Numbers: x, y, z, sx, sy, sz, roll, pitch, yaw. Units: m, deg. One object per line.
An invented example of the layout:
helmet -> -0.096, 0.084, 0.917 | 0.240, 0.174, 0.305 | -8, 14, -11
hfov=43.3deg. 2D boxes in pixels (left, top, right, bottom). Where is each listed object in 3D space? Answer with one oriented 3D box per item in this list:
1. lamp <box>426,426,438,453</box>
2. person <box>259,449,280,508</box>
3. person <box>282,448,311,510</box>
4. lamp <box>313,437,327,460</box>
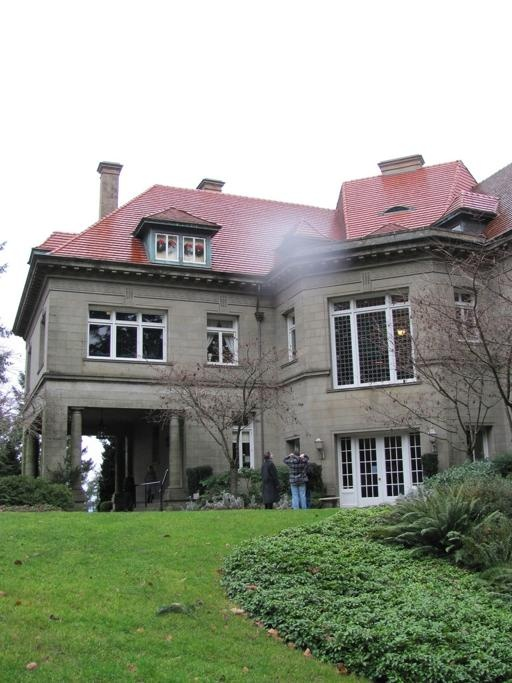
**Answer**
lamp -> 5.655, 3.151, 20.584 | 0.369, 0.838, 0.677 | -5, -13, 15
person -> 0.417, 3.918, 18.190 | 0.446, 1.521, 1.072 | -2, -13, 0
person -> 1.198, 4.008, 18.799 | 0.612, 1.659, 1.105 | -2, -13, 3
lamp -> 2.191, 3.680, 21.964 | 0.391, 0.767, 0.268 | -6, -14, 16
